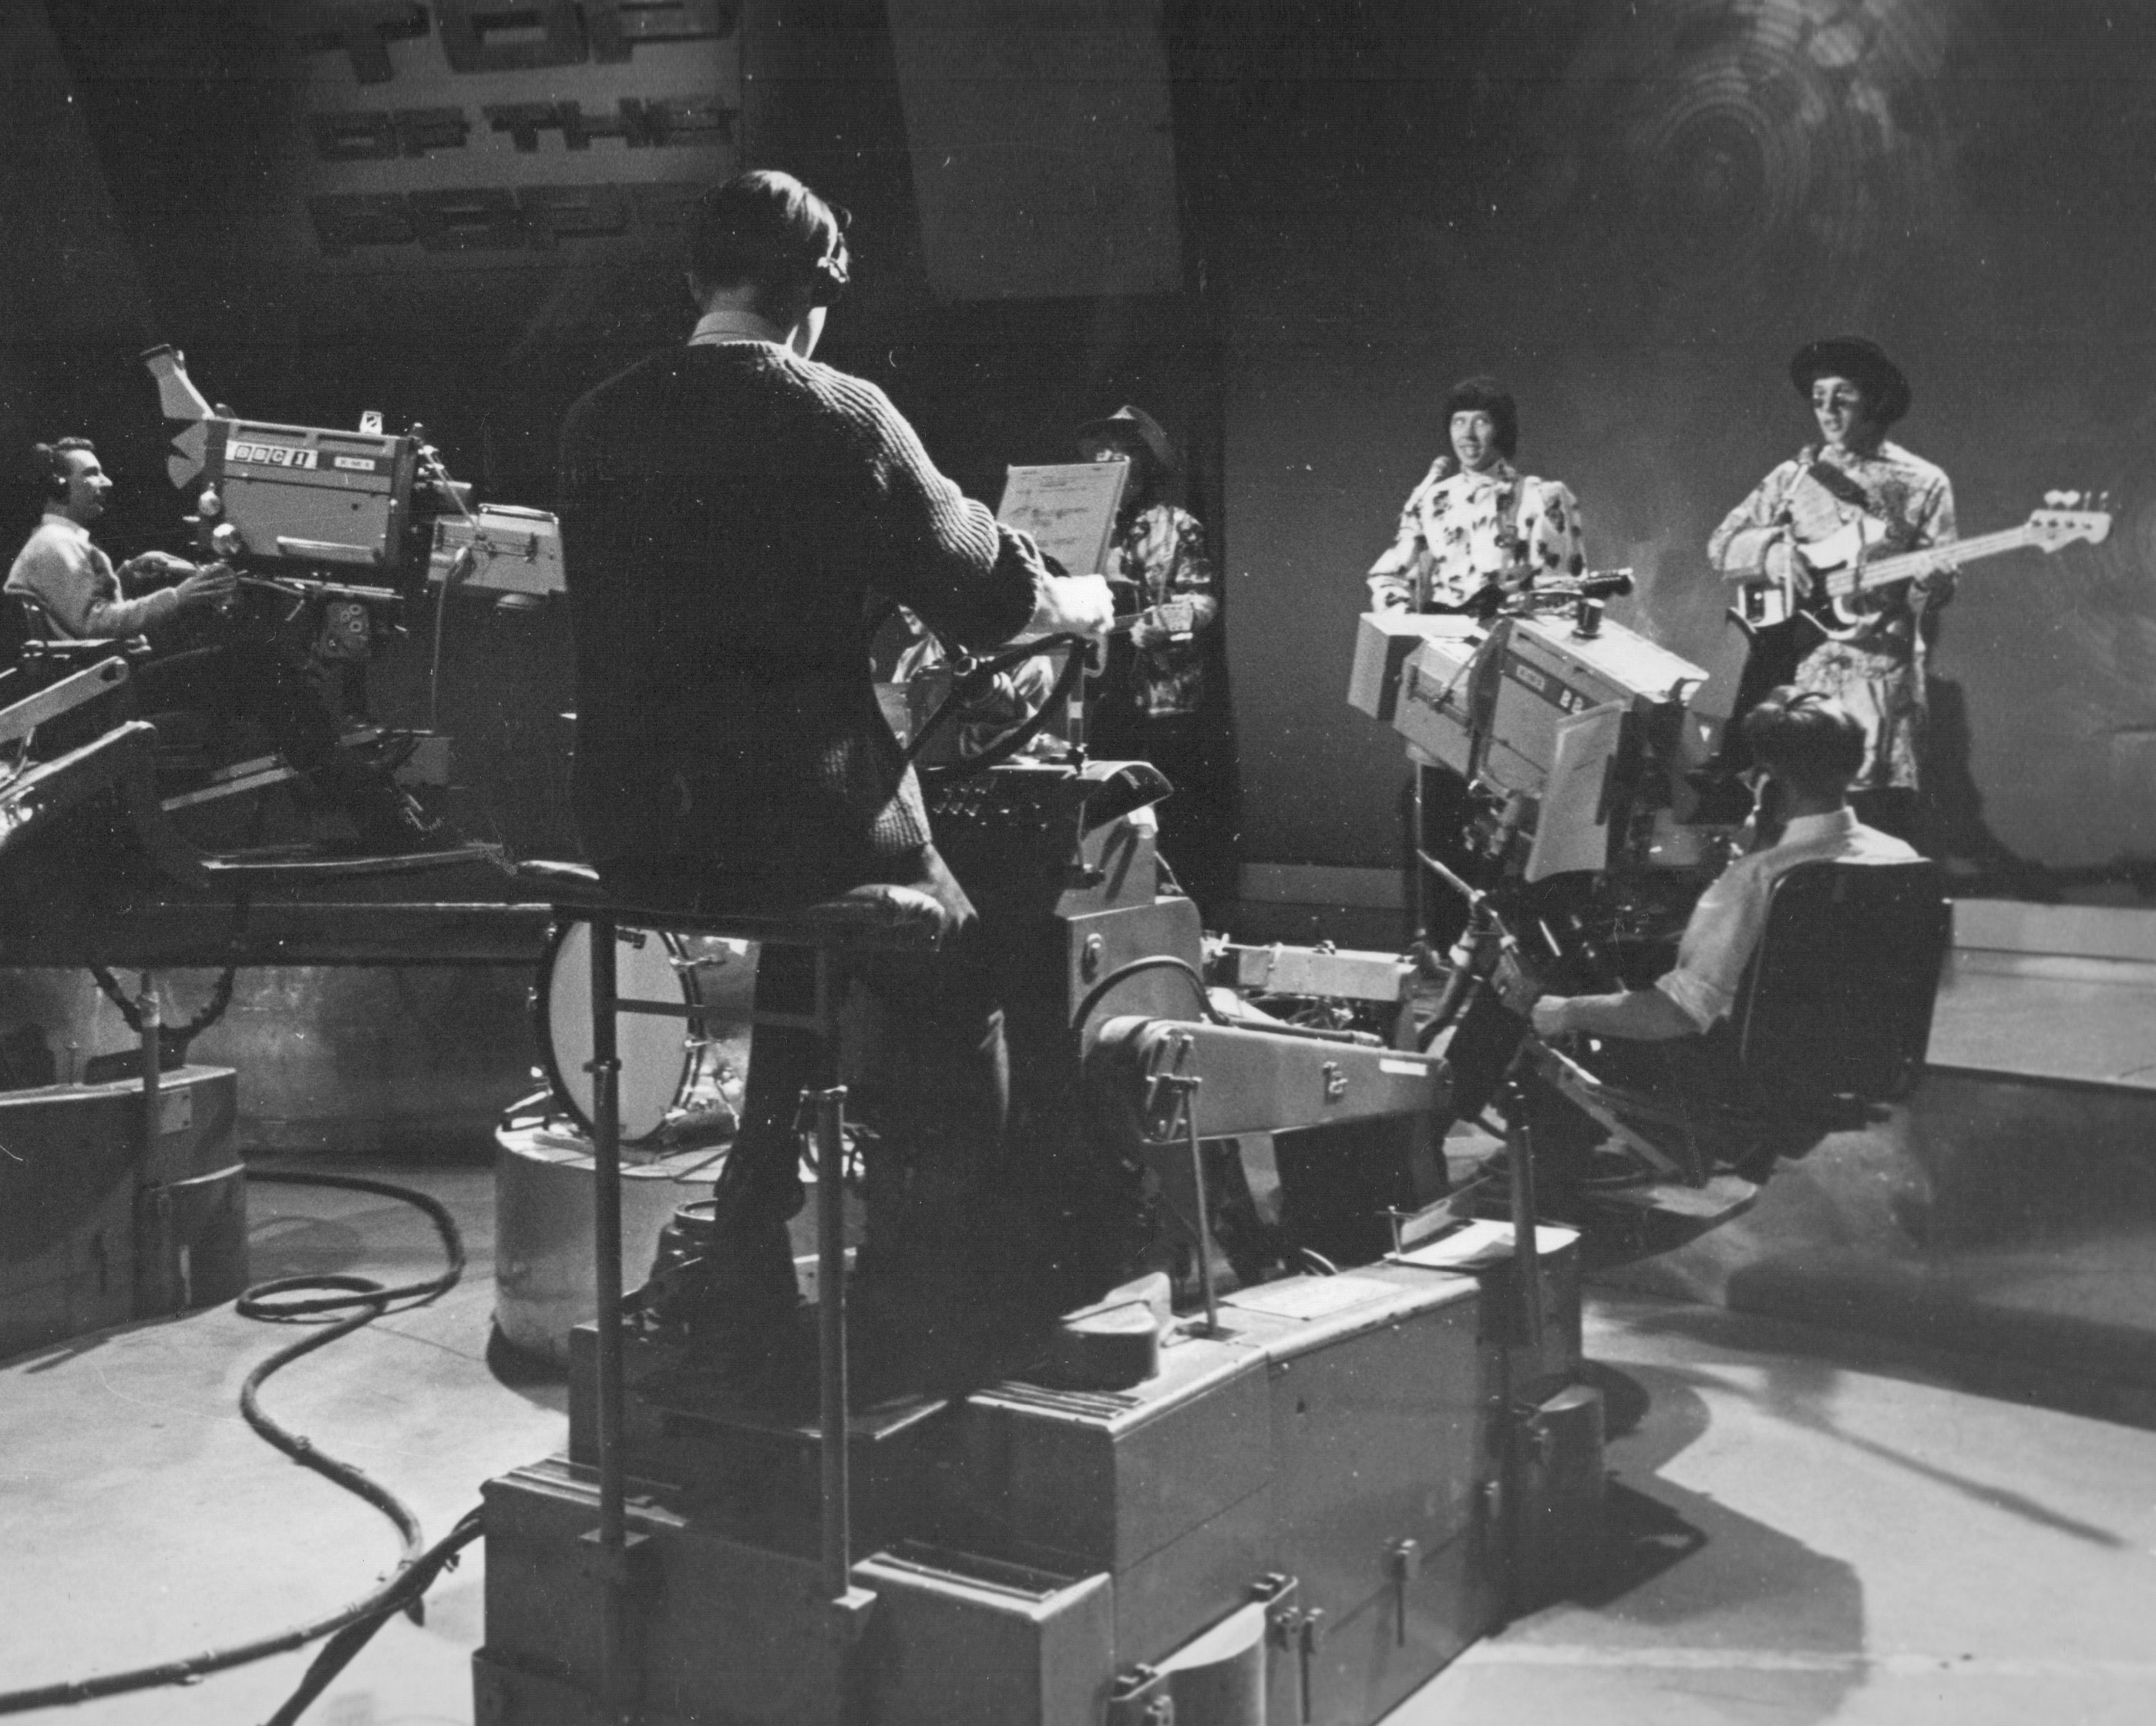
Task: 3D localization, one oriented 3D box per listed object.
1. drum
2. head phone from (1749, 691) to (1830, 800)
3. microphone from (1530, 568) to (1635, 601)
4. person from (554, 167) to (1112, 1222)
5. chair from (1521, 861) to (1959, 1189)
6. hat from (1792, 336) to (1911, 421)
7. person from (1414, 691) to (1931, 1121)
[{"bbox_3d":[-1.009,0.393,4.978,0.575,0.607,0.421,2,2,34],"label":"drum"},{"bbox_3d":[1.666,-0.285,5.070,0.164,0.219,0.214,0,20,14],"label":"head phone"},{"bbox_3d":[1.446,-0.781,5.996,0.207,0.082,0.421,-3,10,-16],"label":"microphone"},{"bbox_3d":[-0.447,-0.256,3.530,0.773,1.761,0.492,-2,10,-14],"label":"person"},{"bbox_3d":[1.538,0.366,5.136,0.666,0.654,0.932,-1,-1,-21],"label":"chair"},{"bbox_3d":[2.234,-1.393,6.184,0.078,0.239,0.354,-9,13,-43],"label":"hat"},{"bbox_3d":[1.550,0.149,5.462,0.990,1.000,1.368,-8,-2,-35],"label":"person"}]
